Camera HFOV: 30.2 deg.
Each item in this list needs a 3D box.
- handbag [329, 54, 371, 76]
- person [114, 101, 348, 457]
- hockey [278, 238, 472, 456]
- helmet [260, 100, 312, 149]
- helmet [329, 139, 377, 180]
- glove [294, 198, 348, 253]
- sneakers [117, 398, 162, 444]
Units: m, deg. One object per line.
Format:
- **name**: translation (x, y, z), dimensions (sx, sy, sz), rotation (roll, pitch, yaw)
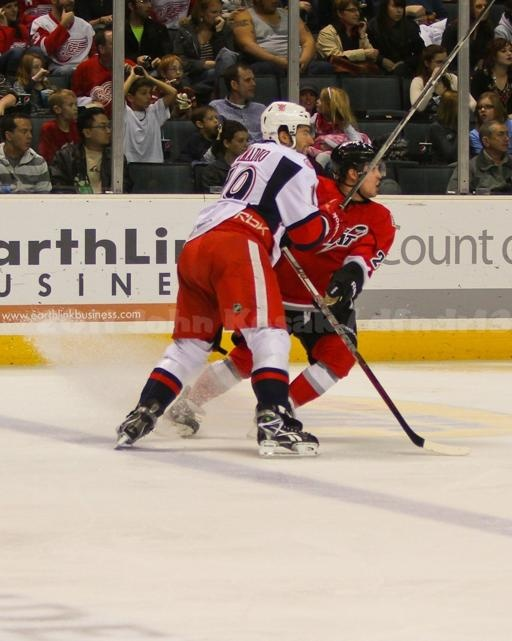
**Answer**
- **handbag**: translation (0.605, -1.620, 6.061), dimensions (0.234, 0.074, 0.161), rotation (-1, 11, -31)
- **person**: translation (-0.062, -0.190, 3.369), dimensions (0.711, 1.244, 0.620), rotation (1, 5, 3)
- **hockey**: translation (0.540, 0.130, 4.362), dimensions (0.107, 1.190, 0.230), rotation (-49, -15, 31)
- **helmet**: translation (0.135, -0.741, 3.584), dimensions (0.227, 0.173, 0.165), rotation (3, 22, 15)
- **helmet**: translation (0.362, -0.616, 3.690), dimensions (0.183, 0.154, 0.132), rotation (-27, 8, 8)
- **glove**: translation (0.172, -0.343, 3.331), dimensions (0.196, 0.073, 0.204), rotation (-39, -27, 24)
- **sneakers**: translation (-0.389, 0.343, 3.220), dimensions (0.178, 0.094, 0.092), rotation (-41, 15, -27)
